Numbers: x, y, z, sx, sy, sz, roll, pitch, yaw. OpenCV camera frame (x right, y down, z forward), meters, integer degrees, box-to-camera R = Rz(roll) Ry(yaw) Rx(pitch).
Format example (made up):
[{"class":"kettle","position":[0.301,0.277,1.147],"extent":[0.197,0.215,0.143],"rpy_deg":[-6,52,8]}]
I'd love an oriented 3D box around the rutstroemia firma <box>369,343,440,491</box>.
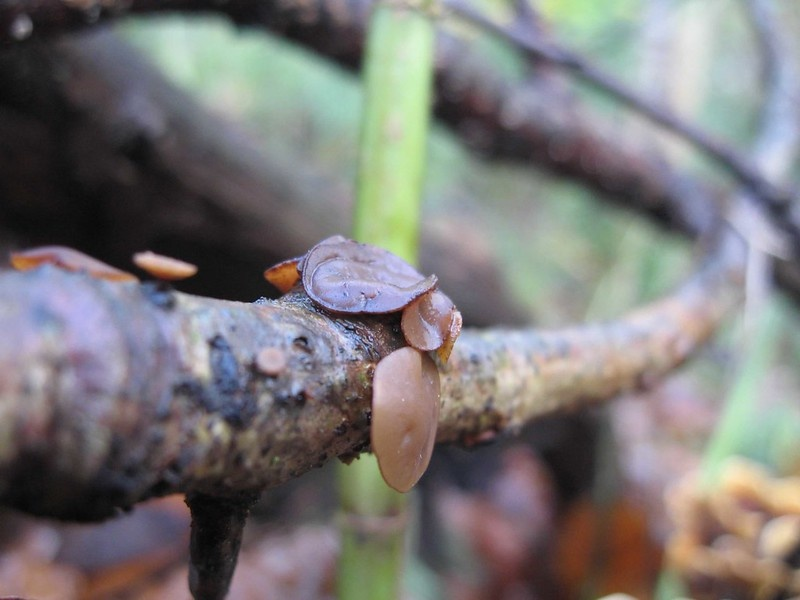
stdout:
[{"class":"rutstroemia firma","position":[0.005,0.184,1.523],"extent":[0.041,0.142,0.199],"rpy_deg":[-3,73,37]}]
